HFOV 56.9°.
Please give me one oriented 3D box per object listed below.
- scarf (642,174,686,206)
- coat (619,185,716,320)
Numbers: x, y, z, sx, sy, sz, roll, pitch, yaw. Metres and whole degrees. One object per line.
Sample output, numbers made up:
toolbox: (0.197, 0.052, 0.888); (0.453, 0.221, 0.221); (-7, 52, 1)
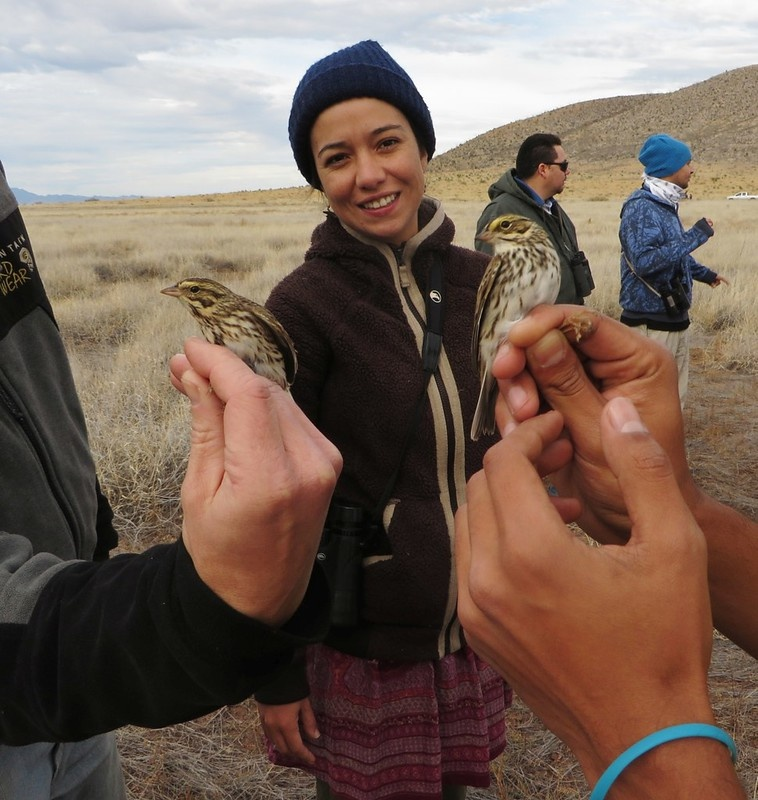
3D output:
scarf: (3.314, -2.429, 8.136); (0.512, 0.229, 0.465); (8, 33, -3)
coat: (3.369, -1.649, 8.170); (1.324, 1.380, 1.441); (7, 15, 32)
